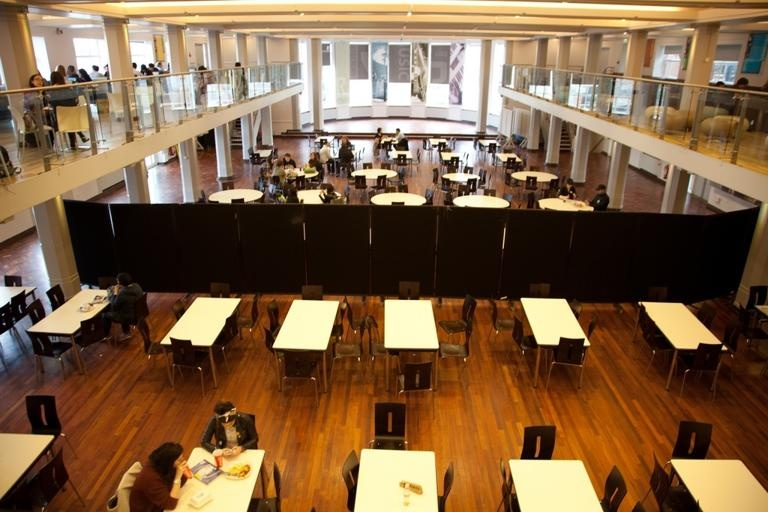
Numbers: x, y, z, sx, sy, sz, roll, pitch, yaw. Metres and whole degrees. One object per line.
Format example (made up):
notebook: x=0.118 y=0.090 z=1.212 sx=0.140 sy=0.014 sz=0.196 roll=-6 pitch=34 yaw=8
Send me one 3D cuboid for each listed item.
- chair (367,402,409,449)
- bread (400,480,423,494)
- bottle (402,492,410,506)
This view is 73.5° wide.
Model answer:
chair: x=0.102 y=3.109 z=9.420 sx=0.651 sy=0.832 sz=0.602 roll=4 pitch=-19 yaw=0
bread: x=0.434 y=3.673 z=8.127 sx=0.266 sy=0.175 sz=0.067 roll=6 pitch=-50 yaw=6
bottle: x=0.339 y=3.801 z=8.002 sx=0.119 sy=0.198 sz=0.082 roll=2 pitch=-18 yaw=6
